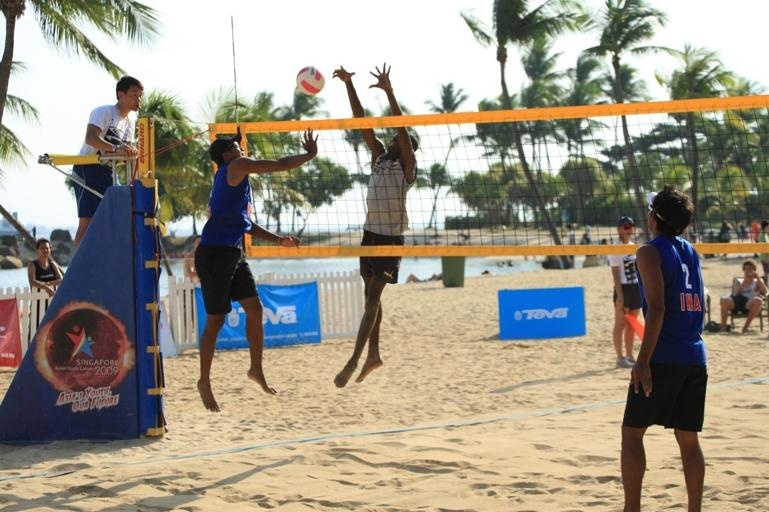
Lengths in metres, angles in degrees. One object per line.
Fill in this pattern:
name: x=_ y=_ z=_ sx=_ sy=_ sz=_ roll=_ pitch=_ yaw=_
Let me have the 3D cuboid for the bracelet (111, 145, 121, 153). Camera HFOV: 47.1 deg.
bracelet: x=-3.155 y=-1.294 z=10.540 sx=0.087 sy=0.022 sz=0.084 roll=18 pitch=35 yaw=29

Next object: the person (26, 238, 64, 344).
person: x=-5.468 y=0.513 z=14.361 sx=0.569 sy=1.604 sz=0.914 roll=-4 pitch=8 yaw=-20

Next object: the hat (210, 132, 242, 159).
hat: x=-1.769 y=-1.279 z=10.030 sx=0.393 sy=0.206 sz=0.276 roll=-46 pitch=19 yaw=-4

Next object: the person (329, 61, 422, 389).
person: x=-0.078 y=-0.269 z=10.727 sx=1.009 sy=4.025 sz=1.164 roll=-1 pitch=8 yaw=1

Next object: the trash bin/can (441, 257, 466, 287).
trash bin/can: x=1.839 y=0.424 z=23.848 sx=0.751 sy=0.846 sz=0.726 roll=-1 pitch=1 yaw=0

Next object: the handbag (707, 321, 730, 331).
handbag: x=5.961 y=1.271 z=15.967 sx=0.295 sy=0.106 sz=0.175 roll=5 pitch=-5 yaw=-33

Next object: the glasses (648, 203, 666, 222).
glasses: x=2.659 y=-0.440 z=8.769 sx=0.121 sy=0.170 sz=0.041 roll=-34 pitch=-14 yaw=-39

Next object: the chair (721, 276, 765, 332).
chair: x=6.471 y=0.909 z=16.085 sx=0.652 sy=1.227 sz=0.707 roll=-4 pitch=-40 yaw=40

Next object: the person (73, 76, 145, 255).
person: x=-3.342 y=-1.181 z=10.821 sx=0.891 sy=2.026 sz=0.769 roll=-4 pitch=8 yaw=-19

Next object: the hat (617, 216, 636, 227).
hat: x=3.425 y=-0.523 z=12.658 sx=0.152 sy=0.105 sz=0.213 roll=2 pitch=-12 yaw=8
